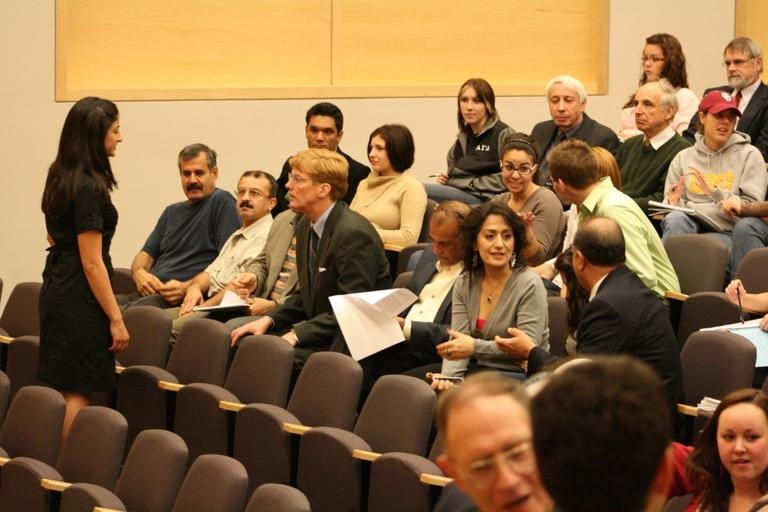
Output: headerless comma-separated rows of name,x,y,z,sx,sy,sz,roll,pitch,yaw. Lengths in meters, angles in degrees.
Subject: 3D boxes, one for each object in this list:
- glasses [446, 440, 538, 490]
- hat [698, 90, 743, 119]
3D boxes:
glasses,0.184,0.342,1.103,0.104,0.035,0.100,-31,-14,7
hat,1.986,-0.883,4.006,0.141,0.110,0.197,-1,2,-23
